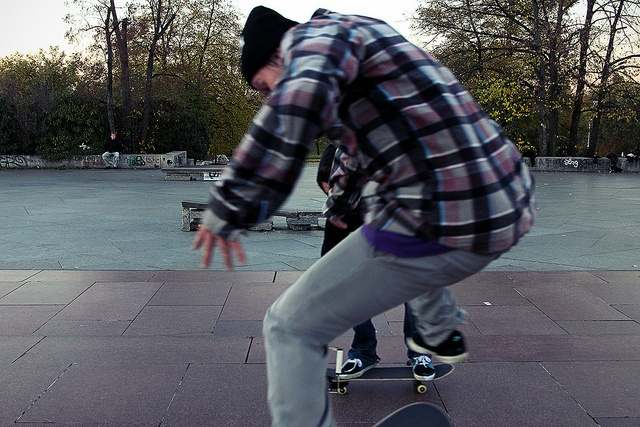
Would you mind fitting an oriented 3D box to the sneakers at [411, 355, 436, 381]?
[{"bbox_3d":[0.787,1.178,4.584,0.134,0.101,0.247,0,24,1],"label":"sneakers"}]

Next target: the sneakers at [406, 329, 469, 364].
[{"bbox_3d":[0.749,0.821,3.761,0.438,0.153,0.169,8,16,15],"label":"sneakers"}]
